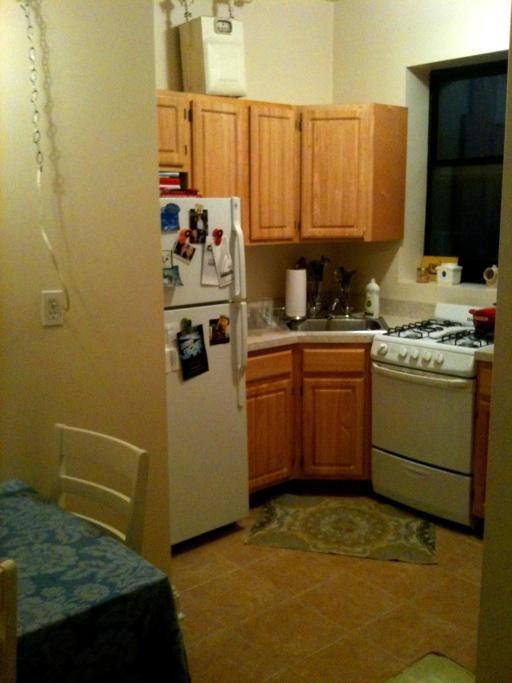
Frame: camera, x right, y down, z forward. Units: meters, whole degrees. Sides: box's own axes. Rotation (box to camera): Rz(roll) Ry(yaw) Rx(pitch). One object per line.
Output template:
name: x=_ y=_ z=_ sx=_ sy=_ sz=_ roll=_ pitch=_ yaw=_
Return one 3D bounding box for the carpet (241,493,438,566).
carpet: x=0.440 y=0.952 z=2.823 sx=0.948 sy=0.015 sz=0.671 roll=1 pitch=7 yaw=15

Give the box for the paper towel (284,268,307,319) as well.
paper towel: x=0.248 y=-0.310 z=3.369 sx=0.131 sy=0.294 sz=0.125 roll=-4 pitch=7 yaw=-31

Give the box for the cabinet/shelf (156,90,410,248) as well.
cabinet/shelf: x=0.205 y=-0.968 z=3.063 sx=1.584 sy=0.816 sz=0.240 roll=-4 pitch=6 yaw=-24

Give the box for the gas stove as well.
gas stove: x=1.002 y=0.001 z=2.858 sx=0.433 sy=0.210 sz=0.408 roll=-11 pitch=14 yaw=-39

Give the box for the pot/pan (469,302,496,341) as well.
pot/pan: x=1.145 y=-0.095 z=2.725 sx=0.158 sy=0.230 sz=0.188 roll=2 pitch=7 yaw=34
